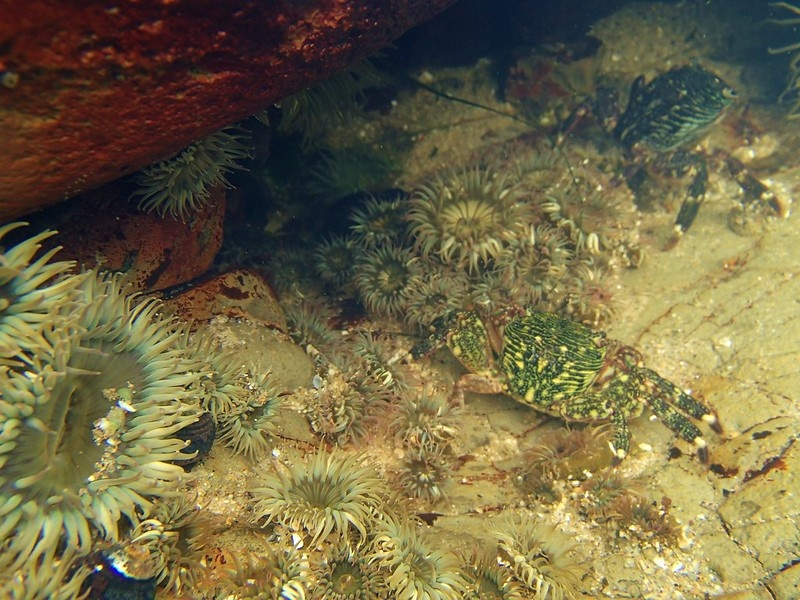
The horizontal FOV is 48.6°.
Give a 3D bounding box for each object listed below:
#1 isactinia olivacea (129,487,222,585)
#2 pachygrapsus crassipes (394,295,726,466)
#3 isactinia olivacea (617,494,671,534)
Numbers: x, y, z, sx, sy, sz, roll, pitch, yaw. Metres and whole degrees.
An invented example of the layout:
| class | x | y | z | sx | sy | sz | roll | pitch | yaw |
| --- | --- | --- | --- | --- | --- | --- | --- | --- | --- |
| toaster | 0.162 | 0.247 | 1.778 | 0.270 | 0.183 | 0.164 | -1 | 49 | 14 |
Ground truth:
| class | x | y | z | sx | sy | sz | roll | pitch | yaw |
| --- | --- | --- | --- | --- | --- | --- | --- | --- | --- |
| isactinia olivacea | -1.999 | 2.094 | 8.079 | 0.843 | 0.971 | 0.671 | -2 | 106 | -20 |
| pachygrapsus crassipes | 1.779 | 1.049 | 9.586 | 2.653 | 2.069 | 1.559 | 6 | 104 | 4 |
| isactinia olivacea | 2.395 | 2.095 | 8.694 | 0.574 | 0.104 | 0.302 | 16 | 74 | 8 |
